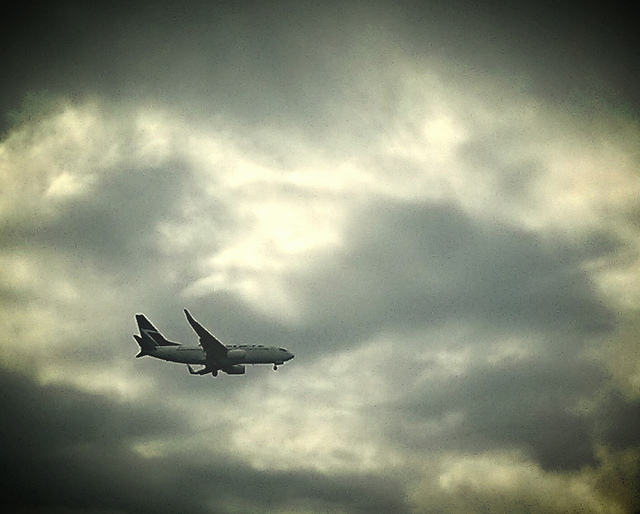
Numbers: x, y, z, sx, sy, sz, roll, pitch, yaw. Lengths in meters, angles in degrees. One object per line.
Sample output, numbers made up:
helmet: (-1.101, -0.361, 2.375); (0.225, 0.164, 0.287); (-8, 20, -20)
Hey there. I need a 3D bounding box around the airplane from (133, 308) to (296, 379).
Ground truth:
airplane: (-26.374, 21.429, 303.944); (37.941, 16.014, 40.580); (-1, -23, -11)
